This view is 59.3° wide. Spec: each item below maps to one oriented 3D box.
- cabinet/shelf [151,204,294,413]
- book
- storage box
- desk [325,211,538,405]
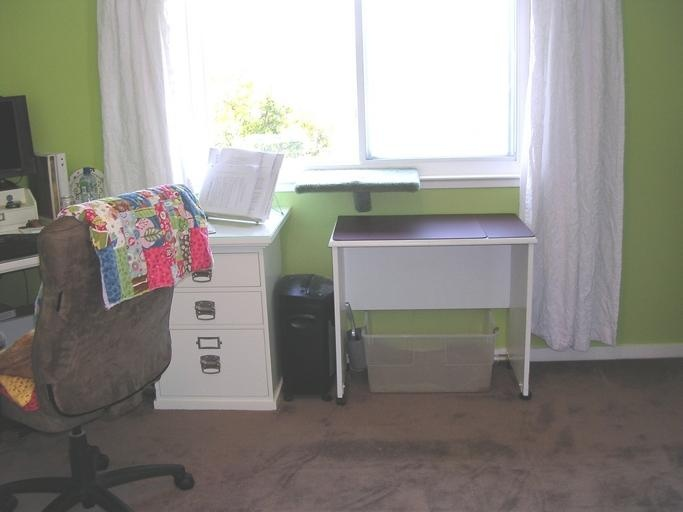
[{"bbox_3d":[-0.556,0.242,3.429,0.848,1.341,0.860,1,14,1],"label":"cabinet/shelf"},{"bbox_3d":[-0.523,-0.358,3.065,0.387,0.407,0.095,10,-7,16],"label":"book"},{"bbox_3d":[0.482,0.485,3.342,0.680,0.491,0.400,-1,8,6],"label":"storage box"},{"bbox_3d":[0.541,0.242,3.543,1.034,0.960,0.628,-1,22,8],"label":"desk"}]
